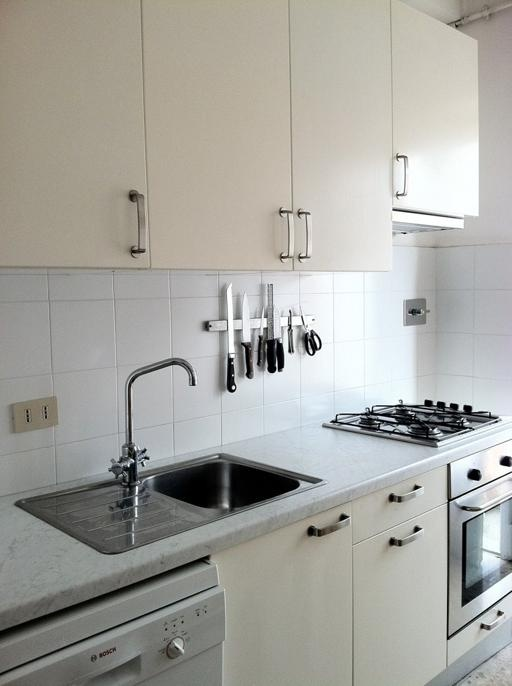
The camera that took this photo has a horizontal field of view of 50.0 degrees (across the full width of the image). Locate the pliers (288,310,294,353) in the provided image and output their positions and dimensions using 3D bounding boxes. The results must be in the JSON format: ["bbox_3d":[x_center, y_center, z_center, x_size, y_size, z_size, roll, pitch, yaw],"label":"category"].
[{"bbox_3d":[0.131,-0.042,2.059,0.011,0.164,0.049,2,4,32],"label":"pliers"}]

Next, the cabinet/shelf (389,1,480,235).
[{"bbox_3d":[0.504,-0.705,2.232,0.666,0.890,0.380,-4,5,-38],"label":"cabinet/shelf"}]

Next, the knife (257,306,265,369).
[{"bbox_3d":[0.018,-0.017,1.936,0.016,0.213,0.041,3,4,37],"label":"knife"}]

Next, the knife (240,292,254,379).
[{"bbox_3d":[-0.024,-0.025,1.890,0.039,0.288,0.073,3,4,39],"label":"knife"}]

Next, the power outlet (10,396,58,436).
[{"bbox_3d":[-0.555,0.180,1.375,0.011,0.082,0.119,3,5,44],"label":"power outlet"}]

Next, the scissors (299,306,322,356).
[{"bbox_3d":[0.196,-0.045,2.124,0.035,0.184,0.077,-18,-13,27],"label":"scissors"}]

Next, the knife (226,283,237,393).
[{"bbox_3d":[-0.085,-0.017,1.827,0.038,0.361,0.073,0,3,-1],"label":"knife"}]

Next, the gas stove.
[{"bbox_3d":[0.609,0.300,2.146,0.492,0.086,0.671,-1,0,45],"label":"gas stove"}]
